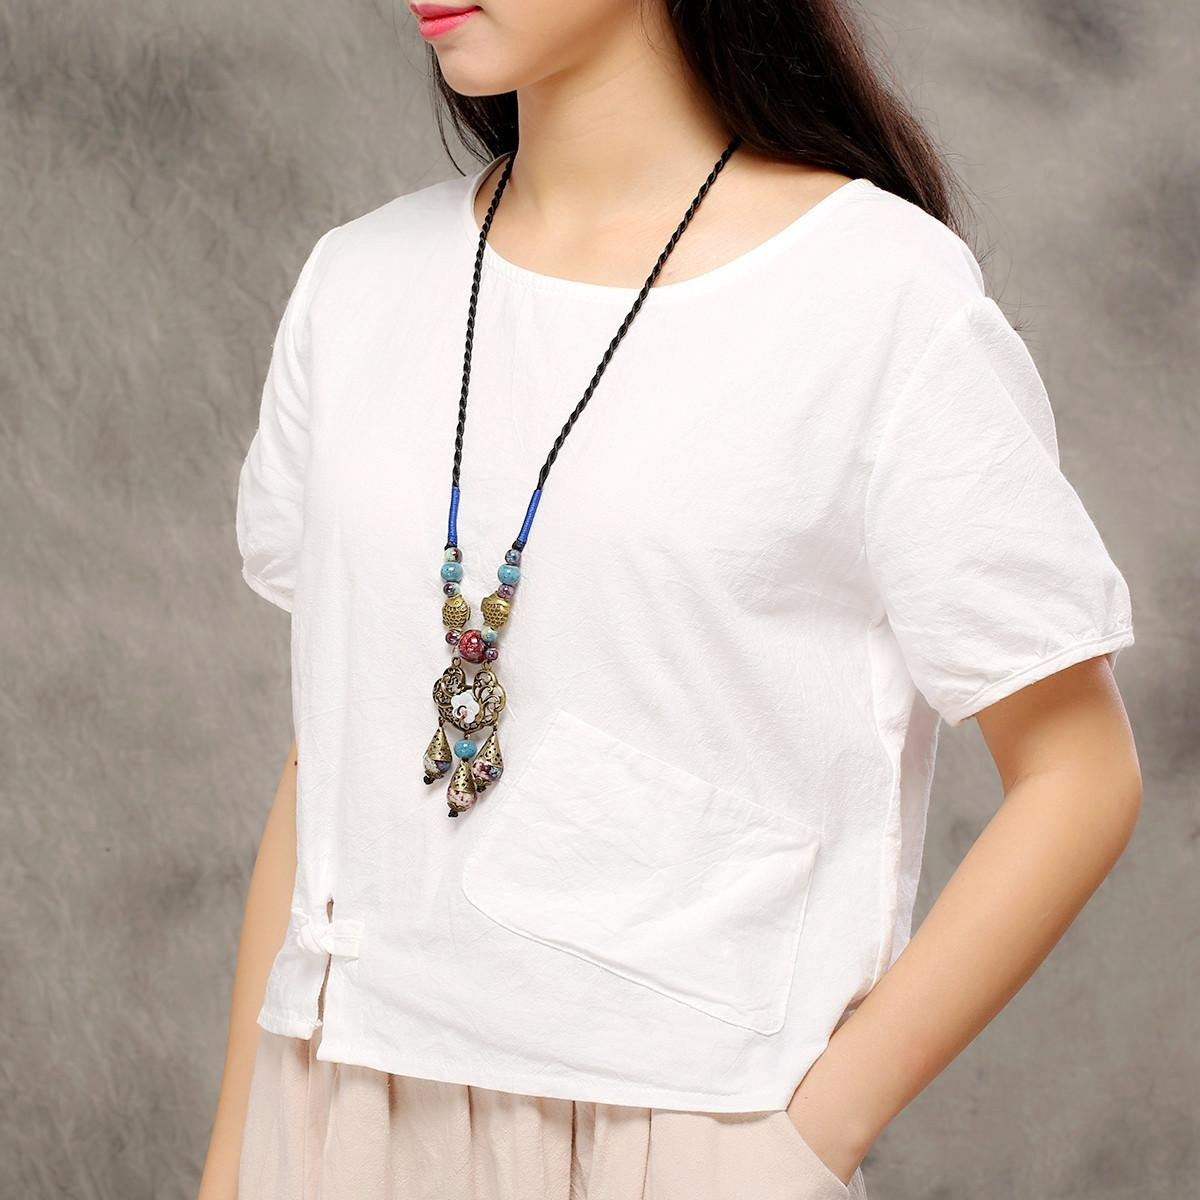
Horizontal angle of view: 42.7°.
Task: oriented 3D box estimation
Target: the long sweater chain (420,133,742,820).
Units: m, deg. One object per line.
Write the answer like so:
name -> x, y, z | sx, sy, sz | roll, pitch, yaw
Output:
long sweater chain -> -0.029, -0.090, 1.104 | 0.147, 0.035, 0.493 | 12, 83, 16

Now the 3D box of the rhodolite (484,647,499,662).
rhodolite -> -0.069, 0.037, 1.011 | 0.009, 0.005, 0.009 | 1, 100, -25

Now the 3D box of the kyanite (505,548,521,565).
kyanite -> -0.055, -0.027, 1.003 | 0.009, 0.010, 0.012 | 1, 92, 8

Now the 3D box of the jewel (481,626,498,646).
jewel -> -0.071, 0.024, 1.002 | 0.009, 0.011, 0.009 | 2, 90, 1

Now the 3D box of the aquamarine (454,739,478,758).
aquamarine -> -0.087, 0.098, 1.002 | 0.013, 0.007, 0.013 | 1, 88, 16

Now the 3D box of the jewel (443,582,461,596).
jewel -> -0.097, -0.007, 1.019 | 0.009, 0.009, 0.009 | 1, 48, 34

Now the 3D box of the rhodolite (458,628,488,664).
rhodolite -> -0.083, 0.031, 1.005 | 0.019, 0.012, 0.020 | 4, 91, 41

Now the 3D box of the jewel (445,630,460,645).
jewel -> -0.095, 0.025, 1.015 | 0.008, 0.009, 0.011 | 6, 76, 26

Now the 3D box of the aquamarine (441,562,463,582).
aquamarine -> -0.097, -0.018, 1.016 | 0.013, 0.013, 0.012 | 2, 90, 16

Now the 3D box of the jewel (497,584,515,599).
jewel -> -0.060, -0.005, 1.004 | 0.006, 0.006, 0.006 | 18, 104, -4

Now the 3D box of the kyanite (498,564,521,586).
kyanite -> -0.059, -0.018, 1.011 | 0.014, 0.014, 0.016 | 13, 91, -24
